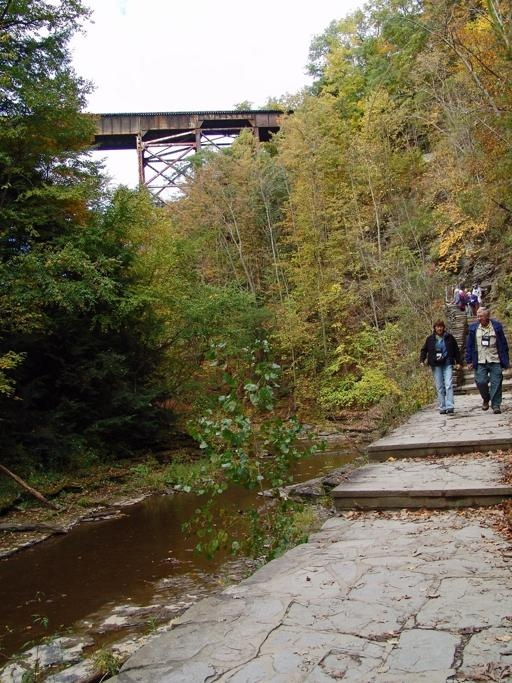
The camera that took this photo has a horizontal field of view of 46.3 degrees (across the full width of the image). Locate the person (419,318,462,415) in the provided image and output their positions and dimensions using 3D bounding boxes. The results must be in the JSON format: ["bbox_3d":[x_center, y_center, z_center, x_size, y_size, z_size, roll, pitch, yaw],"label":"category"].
[{"bbox_3d":[2.845,0.411,9.014,0.562,1.447,0.924,-15,-2,17],"label":"person"}]

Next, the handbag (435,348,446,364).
[{"bbox_3d":[2.691,0.204,8.685,0.129,0.156,0.176,-4,-9,33],"label":"handbag"}]

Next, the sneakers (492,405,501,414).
[{"bbox_3d":[3.395,0.938,8.393,0.084,0.079,0.220,-12,-15,18],"label":"sneakers"}]
